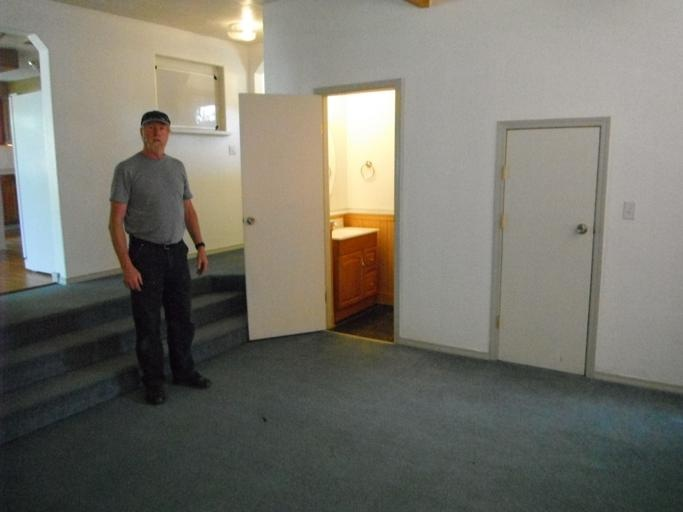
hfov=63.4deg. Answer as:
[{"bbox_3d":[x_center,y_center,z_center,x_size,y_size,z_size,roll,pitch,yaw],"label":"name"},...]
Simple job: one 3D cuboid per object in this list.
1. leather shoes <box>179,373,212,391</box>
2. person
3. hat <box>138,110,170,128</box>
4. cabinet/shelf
[{"bbox_3d":[-1.262,1.075,4.813,0.308,0.151,0.118,0,11,9],"label":"leather shoes"},{"bbox_3d":[-1.487,0.175,4.509,0.655,1.934,0.483,-7,15,-26],"label":"person"},{"bbox_3d":[-1.543,-1.115,4.494,0.179,0.117,0.242,-6,-3,-44],"label":"hat"},{"bbox_3d":[0.120,0.248,6.319,0.439,0.823,0.827,2,12,24],"label":"cabinet/shelf"}]
